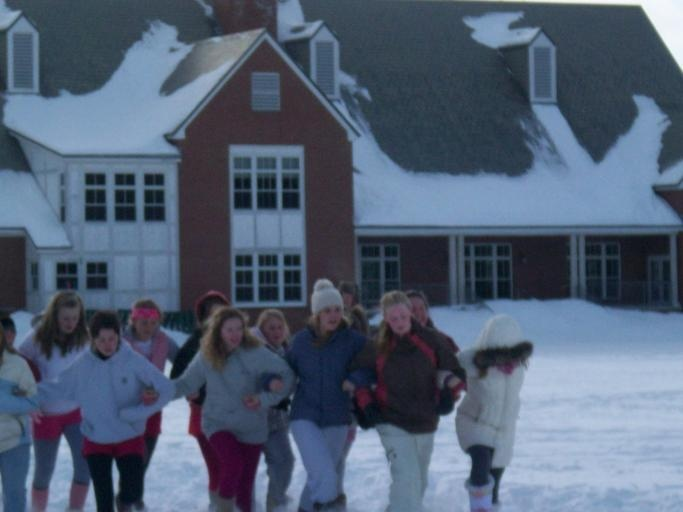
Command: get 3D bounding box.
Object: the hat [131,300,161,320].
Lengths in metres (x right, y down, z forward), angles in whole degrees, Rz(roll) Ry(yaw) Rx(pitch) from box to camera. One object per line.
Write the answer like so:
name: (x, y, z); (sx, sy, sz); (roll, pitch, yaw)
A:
hat: (-3.951, 1.109, 27.575); (0.472, 0.256, 0.379); (-1, 1, -42)

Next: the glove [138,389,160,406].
glove: (-3.741, 2.749, 26.404); (0.256, 0.204, 0.271); (6, -4, 3)

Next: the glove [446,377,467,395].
glove: (2.239, 2.545, 26.590); (0.398, 0.383, 0.220); (-1, -4, -5)

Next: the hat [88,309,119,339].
hat: (-4.607, 1.318, 26.237); (0.401, 0.567, 0.563); (1, -1, -2)

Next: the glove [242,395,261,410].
glove: (-1.750, 2.850, 26.646); (0.272, 0.256, 0.478); (-1, 6, -11)

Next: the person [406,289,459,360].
person: (1.716, 1.492, 28.261); (1.129, 1.664, 0.830); (-14, 1, 13)
